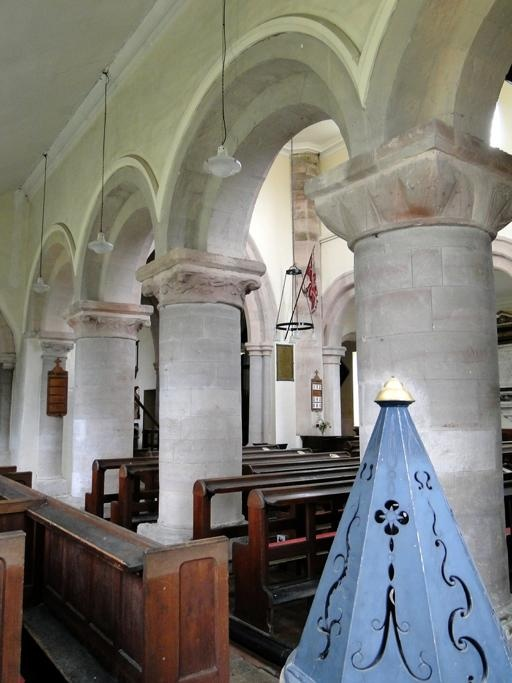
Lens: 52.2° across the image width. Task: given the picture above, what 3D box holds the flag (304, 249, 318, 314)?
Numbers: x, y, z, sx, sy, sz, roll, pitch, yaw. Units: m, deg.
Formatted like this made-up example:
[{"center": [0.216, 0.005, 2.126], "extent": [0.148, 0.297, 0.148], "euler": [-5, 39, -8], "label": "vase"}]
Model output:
[{"center": [1.381, -1.474, 13.139], "extent": [0.408, 1.580, 0.153], "euler": [3, -8, -27], "label": "flag"}]

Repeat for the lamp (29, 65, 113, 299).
[{"center": [-2.864, -2.516, 8.125], "extent": [1.918, 2.915, 0.477], "euler": [8, 9, 39], "label": "lamp"}]
